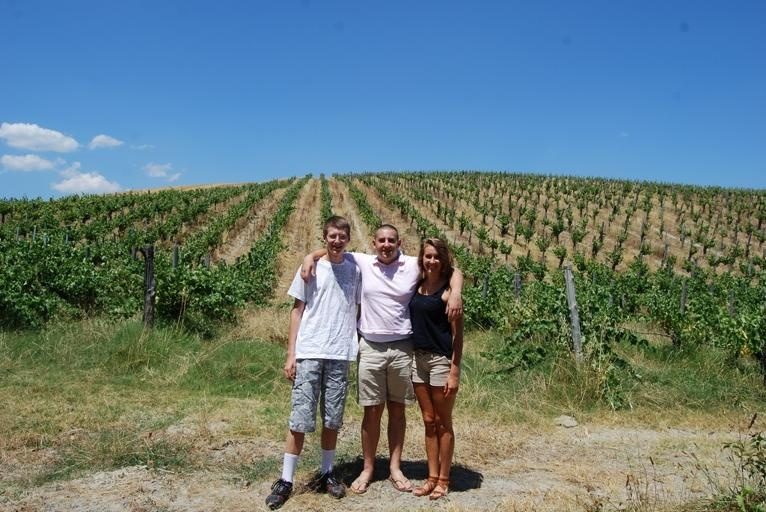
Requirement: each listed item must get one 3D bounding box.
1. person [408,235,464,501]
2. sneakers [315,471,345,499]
[{"bbox_3d":[0.675,1.460,7.825,0.706,3.386,0.607,2,9,4],"label":"person"},{"bbox_3d":[-0.695,3.045,7.853,0.209,0.245,0.540,5,-3,-42],"label":"sneakers"}]
